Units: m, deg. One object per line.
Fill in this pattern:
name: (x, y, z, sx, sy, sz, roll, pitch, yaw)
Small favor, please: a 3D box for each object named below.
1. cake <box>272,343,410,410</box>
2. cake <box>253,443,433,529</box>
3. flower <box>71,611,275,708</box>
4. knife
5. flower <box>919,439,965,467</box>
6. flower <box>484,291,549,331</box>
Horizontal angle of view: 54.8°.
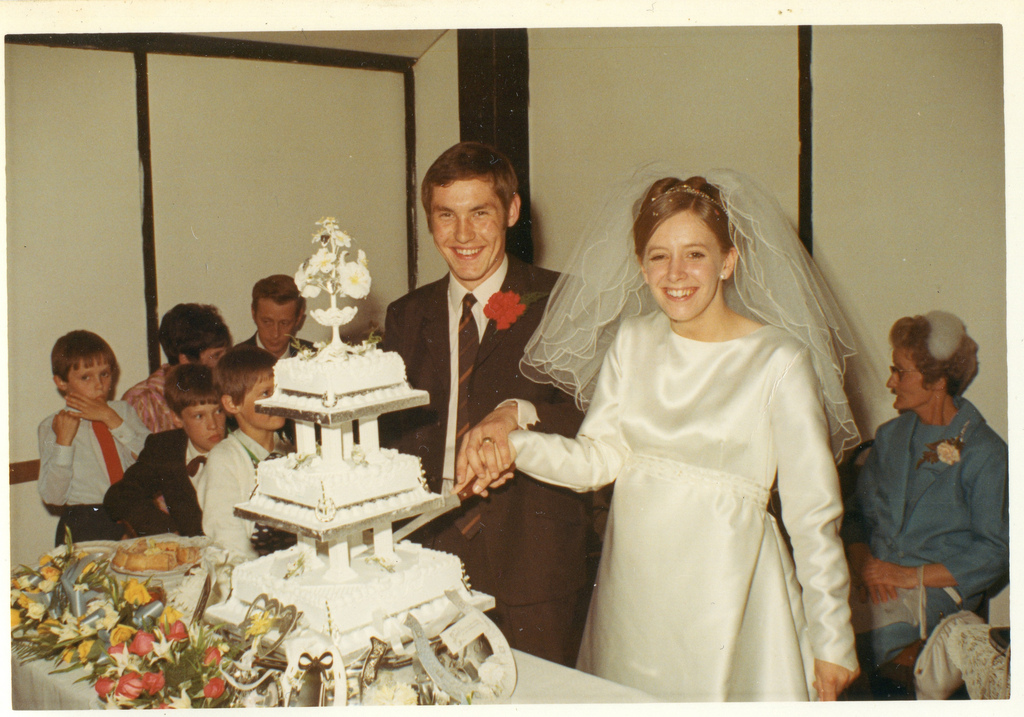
cake: (-0.656, 0.027, 3.929, 0.682, 0.224, 0.674, -6, 6, -24)
cake: (-0.710, 0.521, 3.840, 0.685, 0.171, 0.689, 1, -7, -10)
flower: (-1.294, 1.178, 3.727, 0.452, 0.209, 0.487, 38, 33, 24)
knife: (-0.308, 0.614, 4.015, 0.800, 0.086, 0.143, -27, 12, 1)
flower: (2.066, 0.446, 4.746, 0.198, 0.137, 0.054, 1, 7, 28)
flower: (0.021, -0.235, 4.504, 0.240, 0.152, 0.100, -18, -5, 16)
